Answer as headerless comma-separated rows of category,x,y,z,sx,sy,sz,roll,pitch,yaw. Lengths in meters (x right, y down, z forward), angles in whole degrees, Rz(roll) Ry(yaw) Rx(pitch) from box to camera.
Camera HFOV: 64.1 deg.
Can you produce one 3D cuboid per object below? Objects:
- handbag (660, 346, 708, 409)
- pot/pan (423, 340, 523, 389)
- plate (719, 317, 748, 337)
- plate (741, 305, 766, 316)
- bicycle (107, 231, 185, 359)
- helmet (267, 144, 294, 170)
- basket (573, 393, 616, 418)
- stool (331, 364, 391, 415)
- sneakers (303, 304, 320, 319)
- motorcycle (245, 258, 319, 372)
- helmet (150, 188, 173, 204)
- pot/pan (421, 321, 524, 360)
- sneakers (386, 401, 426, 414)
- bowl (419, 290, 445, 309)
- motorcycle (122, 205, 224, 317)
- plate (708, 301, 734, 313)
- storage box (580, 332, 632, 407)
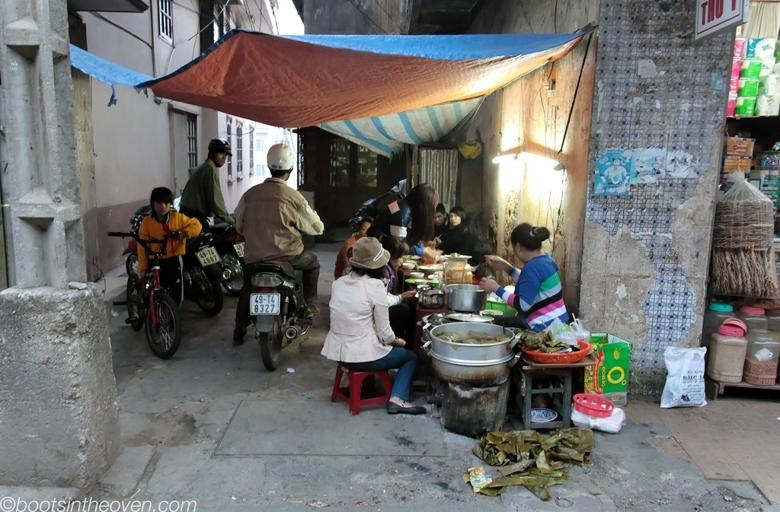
handbag,2.917,1.211,6.197,0.539,0.612,0.216,2,-6,-2
pot/pan,0.806,1.054,5.985,0.995,0.349,0.867,-2,-10,32
plate,3.420,0.717,6.241,0.213,0.132,0.179,11,-6,-42
plate,3.709,0.562,6.351,0.252,0.088,0.084,0,8,-5
bicycle,-2.817,0.558,7.621,0.890,1.092,1.680,2,7,-28
helmet,-1.237,-1.126,7.188,0.259,0.267,0.332,7,44,1
basket,1.906,1.401,5.853,0.360,0.153,0.236,6,9,31
stool,-0.263,1.335,6.217,0.487,0.384,0.486,4,2,-27
sneakers,-0.930,0.654,7.466,0.197,0.192,0.313,3,-8,-1
motorcycle,-1.229,0.647,6.981,0.519,1.171,0.857,3,8,15
helmet,-2.662,-0.693,7.302,0.182,0.217,0.231,1,13,-9
pot/pan,0.771,0.808,5.846,0.929,0.229,0.825,2,10,21
sneakers,0.159,1.474,6.072,0.378,0.123,0.140,0,-1,-8
bowl,0.428,0.452,6.472,0.205,0.148,0.209,2,10,0
motorcycle,-3.002,0.082,8.649,1.767,1.234,1.048,11,17,28
plate,3.371,0.533,6.368,0.140,0.051,0.140,0,6,-20
storage box,2.150,1.166,6.248,0.380,0.612,0.499,2,0,-9
